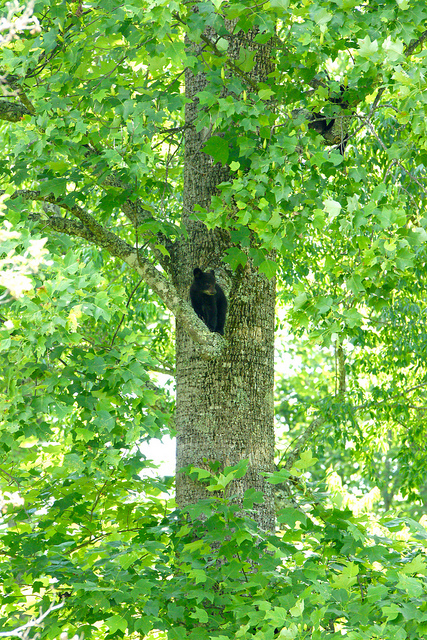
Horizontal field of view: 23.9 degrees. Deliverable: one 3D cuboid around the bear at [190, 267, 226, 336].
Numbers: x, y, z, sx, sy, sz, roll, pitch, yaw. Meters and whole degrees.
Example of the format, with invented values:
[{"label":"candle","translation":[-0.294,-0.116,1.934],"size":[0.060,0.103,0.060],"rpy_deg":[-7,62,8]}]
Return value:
[{"label":"bear","translation":[-0.086,-0.208,6.936],"size":[0.200,0.726,0.379],"rpy_deg":[-3,-80,-4]}]
